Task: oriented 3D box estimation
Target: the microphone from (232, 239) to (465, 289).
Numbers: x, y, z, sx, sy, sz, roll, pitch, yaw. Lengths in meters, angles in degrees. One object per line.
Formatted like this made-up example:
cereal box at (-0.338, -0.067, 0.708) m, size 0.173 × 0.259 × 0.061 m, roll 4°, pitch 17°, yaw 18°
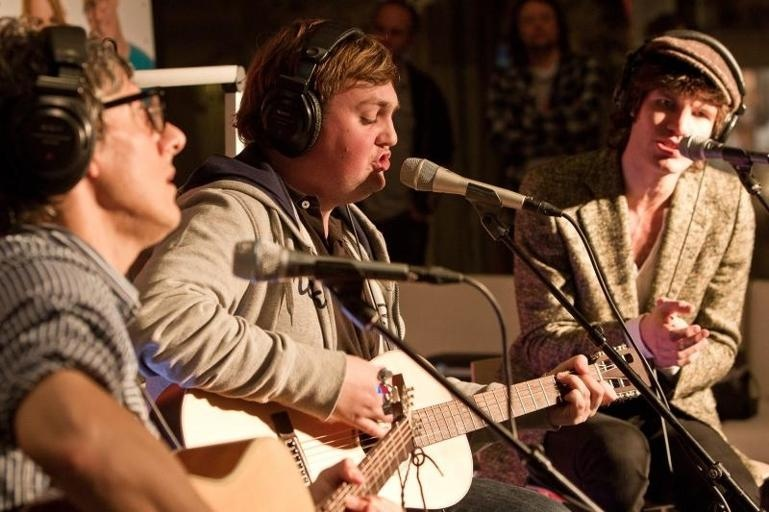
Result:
microphone at (-0.077, 0.028, 2.029) m, size 0.524 × 0.099 × 0.090 m, roll 5°, pitch 23°, yaw -20°

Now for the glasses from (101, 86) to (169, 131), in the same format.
glasses at (-0.661, -0.399, 2.187) m, size 0.128 × 0.042 × 0.120 m, roll -10°, pitch 6°, yaw -7°

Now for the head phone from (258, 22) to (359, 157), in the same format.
head phone at (-0.266, -0.585, 2.882) m, size 0.181 × 0.450 × 0.489 m, roll 13°, pitch 9°, yaw 6°
